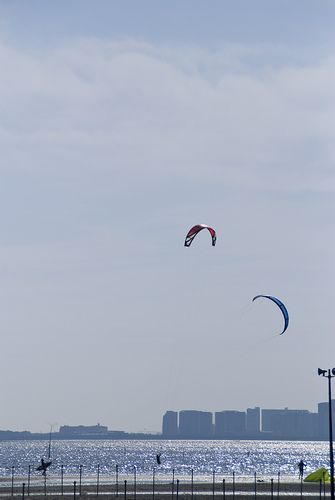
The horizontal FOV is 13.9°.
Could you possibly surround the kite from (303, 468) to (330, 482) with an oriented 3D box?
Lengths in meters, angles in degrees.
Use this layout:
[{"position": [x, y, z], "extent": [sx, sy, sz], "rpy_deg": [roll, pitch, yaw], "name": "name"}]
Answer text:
[{"position": [23.176, 35.078, 211.750], "extent": [2.721, 0.916, 2.717], "rpy_deg": [-21, -40, 23], "name": "kite"}]
